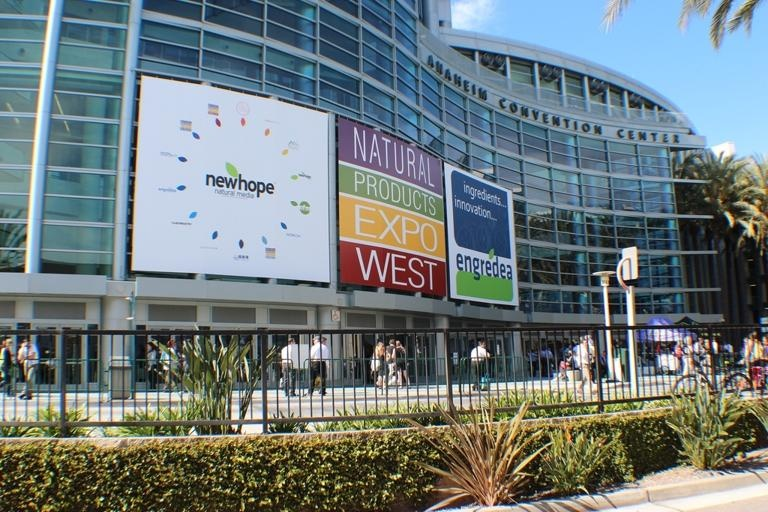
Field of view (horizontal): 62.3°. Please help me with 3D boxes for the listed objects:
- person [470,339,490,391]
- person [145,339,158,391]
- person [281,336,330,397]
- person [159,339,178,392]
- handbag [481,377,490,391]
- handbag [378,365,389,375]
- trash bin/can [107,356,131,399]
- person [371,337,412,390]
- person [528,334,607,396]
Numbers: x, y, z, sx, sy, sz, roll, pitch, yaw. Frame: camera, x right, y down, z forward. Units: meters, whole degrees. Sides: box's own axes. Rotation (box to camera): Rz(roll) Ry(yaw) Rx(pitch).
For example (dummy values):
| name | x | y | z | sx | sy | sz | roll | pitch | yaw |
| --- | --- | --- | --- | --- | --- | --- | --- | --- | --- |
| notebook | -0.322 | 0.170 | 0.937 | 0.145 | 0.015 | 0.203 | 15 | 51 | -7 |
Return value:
| name | x | y | z | sx | sy | sz | roll | pitch | yaw |
| --- | --- | --- | --- | --- | --- | --- | --- | --- | --- |
| person | 2.099 | 2.409 | 13.950 | 0.492 | 1.075 | 0.196 | 4 | -14 | -24 |
| person | -4.722 | 2.215 | 12.940 | 0.252 | 1.000 | 0.634 | 2 | -14 | -20 |
| person | -1.673 | 2.352 | 13.190 | 0.619 | 1.162 | 1.167 | -4 | -7 | 22 |
| person | -4.323 | 2.180 | 12.754 | 0.327 | 1.028 | 0.372 | -15 | -18 | 43 |
| handbag | 2.198 | 2.802 | 13.901 | 0.250 | 0.288 | 0.064 | 6 | -15 | -32 |
| handbag | -0.014 | 2.408 | 13.329 | 0.204 | 0.186 | 0.202 | 2 | -7 | -20 |
| trash bin/can | -5.263 | 2.450 | 12.708 | 0.487 | 0.839 | 0.303 | -2 | -13 | -4 |
| person | 0.152 | 2.310 | 13.353 | 0.543 | 0.542 | 0.982 | -10 | 4 | 0 |
| person | 4.332 | 2.547 | 14.677 | 1.151 | 1.463 | 2.315 | -12 | -16 | 37 |
